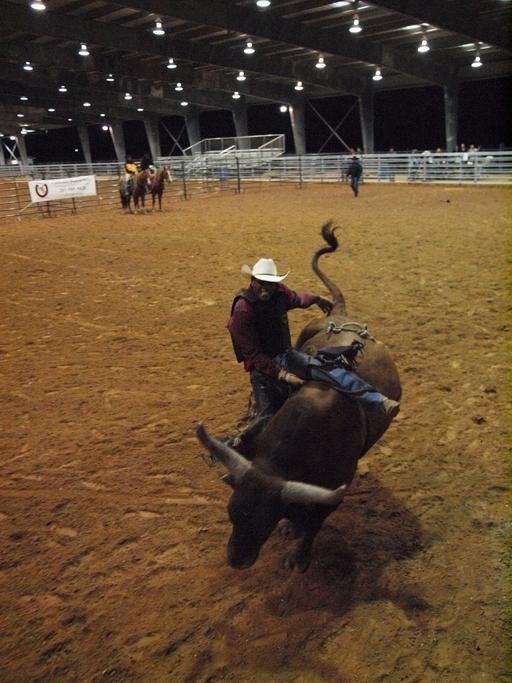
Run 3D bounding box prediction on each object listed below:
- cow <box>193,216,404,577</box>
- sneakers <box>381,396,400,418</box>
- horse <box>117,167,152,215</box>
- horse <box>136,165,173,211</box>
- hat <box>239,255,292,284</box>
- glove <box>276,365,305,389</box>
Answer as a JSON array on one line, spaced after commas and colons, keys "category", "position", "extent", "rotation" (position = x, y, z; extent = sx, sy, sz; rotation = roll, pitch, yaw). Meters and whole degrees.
[{"category": "cow", "position": [0.371, 0.281, 2.560], "extent": [0.687, 0.924, 1.746], "rotation": [14, 57, 31]}, {"category": "sneakers", "position": [0.612, 0.288, 2.312], "extent": [0.063, 0.050, 0.136], "rotation": [24, -3, 13]}, {"category": "horse", "position": [-4.181, -5.240, 17.770], "extent": [0.595, 1.363, 2.217], "rotation": [-12, 20, -39]}, {"category": "horse", "position": [-3.704, -5.337, 17.997], "extent": [2.252, 1.390, 0.586], "rotation": [6, 13, 38]}, {"category": "hat", "position": [0.055, -0.425, 3.111], "extent": [0.366, 0.135, 0.367], "rotation": [2, 12, -9]}, {"category": "glove", "position": [0.186, 0.181, 2.669], "extent": [0.108, 0.052, 0.083], "rotation": [26, -3, 36]}]
